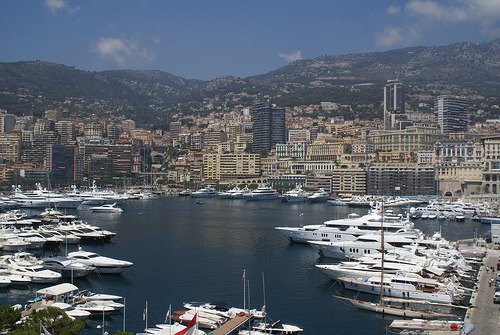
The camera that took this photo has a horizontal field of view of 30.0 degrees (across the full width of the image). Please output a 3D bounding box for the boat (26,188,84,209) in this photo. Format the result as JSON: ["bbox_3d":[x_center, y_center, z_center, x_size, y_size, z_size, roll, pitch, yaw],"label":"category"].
[{"bbox_3d":[-83.573,13.903,406.111,18.772,7.718,7.217,1,-2,9],"label":"boat"}]

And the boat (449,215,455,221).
[{"bbox_3d":[84.801,21.275,392.776,1.842,1.836,7.681,-3,-5,19],"label":"boat"}]

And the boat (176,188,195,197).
[{"bbox_3d":[-33.821,14.282,493.104,10.771,4.430,3.462,-4,8,-4],"label":"boat"}]

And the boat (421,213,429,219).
[{"bbox_3d":[74.004,20.698,395.784,2.320,1.661,7.845,-2,0,19],"label":"boat"}]

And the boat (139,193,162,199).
[{"bbox_3d":[-50.302,14.277,462.026,7.682,2.525,4.180,2,-3,-23],"label":"boat"}]

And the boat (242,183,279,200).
[{"bbox_3d":[5.701,13.087,463.205,17.071,6.153,6.221,3,-3,-40],"label":"boat"}]

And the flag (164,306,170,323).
[{"bbox_3d":[-28.600,50.361,320.199,1.478,1.293,5.644,-9,-38,-14],"label":"flag"}]

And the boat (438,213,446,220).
[{"bbox_3d":[81.159,20.633,395.009,2.934,2.411,10.817,0,0,17],"label":"boat"}]
